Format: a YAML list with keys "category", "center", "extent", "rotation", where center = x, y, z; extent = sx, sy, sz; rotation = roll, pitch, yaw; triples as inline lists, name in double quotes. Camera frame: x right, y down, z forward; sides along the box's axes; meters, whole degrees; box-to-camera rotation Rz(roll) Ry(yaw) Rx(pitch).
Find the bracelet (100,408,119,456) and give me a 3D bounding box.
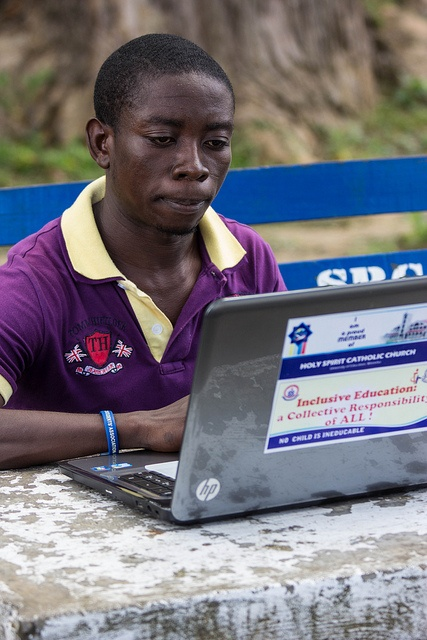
- category: "bracelet"
  center: [-0.185, 0.202, 1.256]
  extent: [0.026, 0.057, 0.052]
  rotation: [-13, -3, 2]
